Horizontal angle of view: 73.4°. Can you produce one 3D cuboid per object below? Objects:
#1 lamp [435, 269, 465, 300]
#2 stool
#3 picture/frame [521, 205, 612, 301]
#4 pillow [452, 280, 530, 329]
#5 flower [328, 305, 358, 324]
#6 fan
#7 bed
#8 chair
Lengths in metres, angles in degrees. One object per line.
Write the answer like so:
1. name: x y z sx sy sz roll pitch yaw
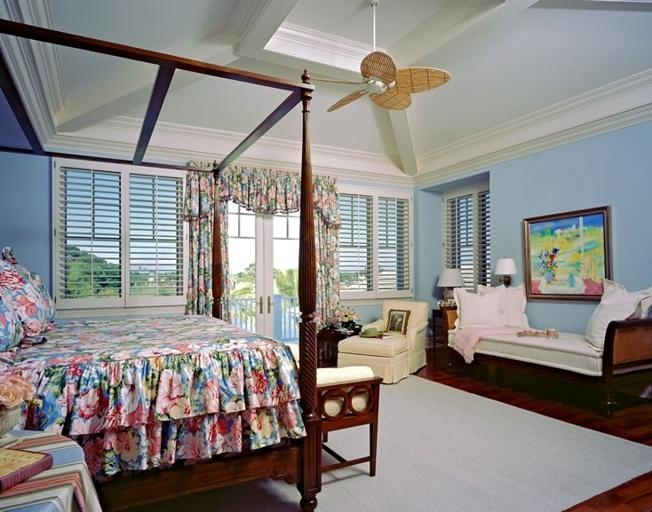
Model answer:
1. lamp: 1.803 0.409 6.563 0.435 0.452 0.423 -1 2 -16
2. stool: 0.087 1.170 3.264 0.466 0.725 0.766 10 -28 -41
3. picture/frame: 2.817 -0.027 5.046 0.088 1.349 1.133 2 -3 -31
4. pillow: 2.120 0.633 5.521 0.632 0.474 0.146 0 -23 6
5. flower: 0.238 0.829 6.150 0.289 0.202 0.294 2 -6 -10
6. fan: 0.573 -1.511 3.779 0.659 0.282 0.862 -2 1 -13
7. bed: -0.893 1.000 2.703 1.701 1.203 0.993 -1 2 -2
8. chair: 0.797 1.052 5.682 0.831 0.907 1.101 -3 -3 40
